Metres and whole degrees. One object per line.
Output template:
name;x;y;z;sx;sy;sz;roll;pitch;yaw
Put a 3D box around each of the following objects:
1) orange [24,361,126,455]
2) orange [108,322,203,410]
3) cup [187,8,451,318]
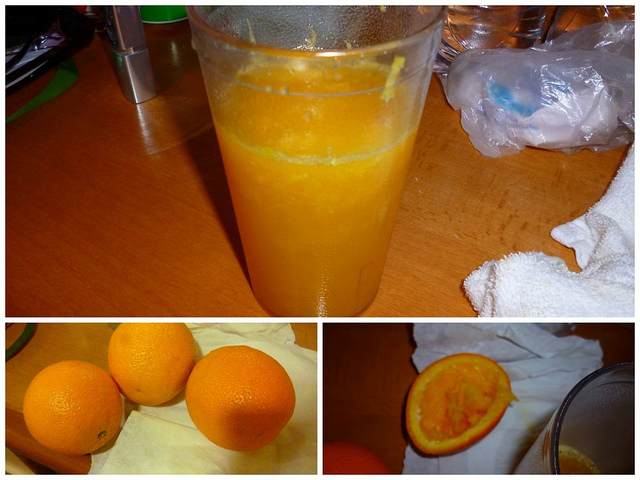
orange;-0.303;0.196;0.565;0.098;0.105;0.101;8;12;-13
orange;-0.216;0.148;0.585;0.094;0.108;0.093;1;15;30
cup;-0.003;-0.093;0.487;0.201;0.313;0.264;11;57;8
